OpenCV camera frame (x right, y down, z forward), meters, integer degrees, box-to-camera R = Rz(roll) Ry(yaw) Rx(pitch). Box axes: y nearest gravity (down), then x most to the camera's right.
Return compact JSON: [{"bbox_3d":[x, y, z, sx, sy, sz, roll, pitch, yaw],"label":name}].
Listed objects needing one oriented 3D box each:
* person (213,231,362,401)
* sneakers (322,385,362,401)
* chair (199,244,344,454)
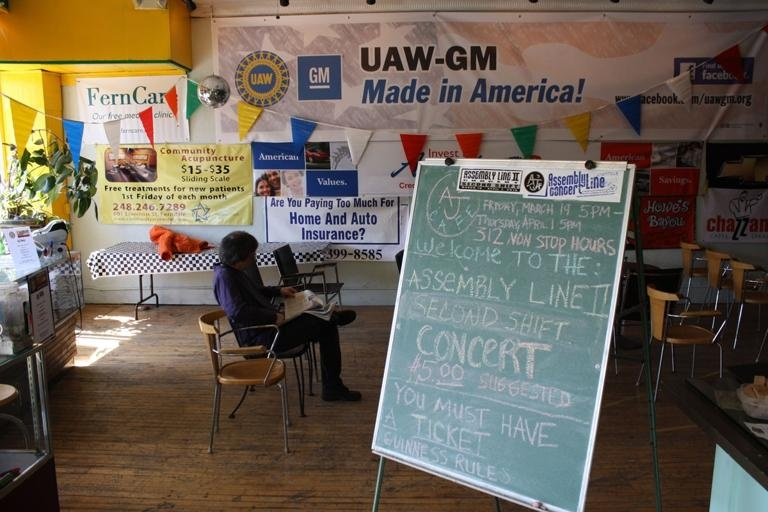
[{"bbox_3d":[-0.890,0.586,5.648,1.354,1.623,0.836,-4,6,-12],"label":"person"},{"bbox_3d":[-0.408,1.297,5.797,0.334,0.139,0.159,0,0,-1],"label":"sneakers"},{"bbox_3d":[-1.064,0.586,5.941,1.640,2.031,1.428,-3,9,-11],"label":"chair"}]
